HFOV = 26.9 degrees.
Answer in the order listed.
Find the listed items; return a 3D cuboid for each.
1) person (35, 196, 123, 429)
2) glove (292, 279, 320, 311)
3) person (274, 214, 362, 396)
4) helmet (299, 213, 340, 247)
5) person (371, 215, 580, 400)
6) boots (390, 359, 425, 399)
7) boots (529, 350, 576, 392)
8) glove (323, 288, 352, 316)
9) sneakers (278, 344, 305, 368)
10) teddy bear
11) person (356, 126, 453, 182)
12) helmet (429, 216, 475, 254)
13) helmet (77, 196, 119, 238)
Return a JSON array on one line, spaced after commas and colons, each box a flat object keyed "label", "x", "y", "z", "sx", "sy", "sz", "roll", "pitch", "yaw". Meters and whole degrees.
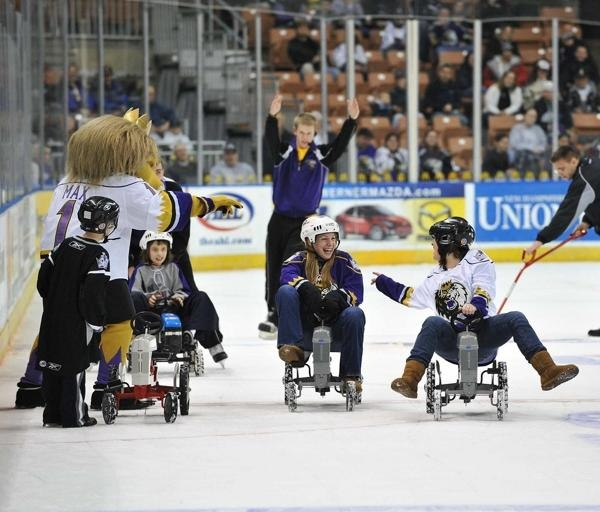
[{"label": "person", "x": -1.300, "y": 0.423, "z": 7.246, "sx": 0.428, "sy": 1.116, "sz": 0.298, "roll": -3, "pitch": 13, "yaw": -10}, {"label": "glove", "x": 0.068, "y": 0.242, "z": 7.822, "sx": 0.103, "sy": 0.153, "sz": 0.207, "roll": -6, "pitch": 14, "yaw": -23}, {"label": "person", "x": 0.129, "y": 0.286, "z": 7.977, "sx": 0.572, "sy": 1.229, "sz": 0.781, "roll": -9, "pitch": -18, "yaw": 29}, {"label": "helmet", "x": 0.140, "y": -0.180, "z": 8.011, "sx": 0.209, "sy": 0.221, "sz": 0.172, "roll": -3, "pitch": -2, "yaw": 43}, {"label": "person", "x": 0.986, "y": 0.286, "z": 7.582, "sx": 1.261, "sy": 1.203, "sz": 0.830, "roll": -10, "pitch": -19, "yaw": 25}, {"label": "boots", "x": 0.651, "y": 0.746, "z": 7.499, "sx": 0.145, "sy": 0.282, "sz": 0.232, "roll": 10, "pitch": 17, "yaw": 40}, {"label": "boots", "x": 1.512, "y": 0.673, "z": 7.462, "sx": 0.161, "sy": 0.233, "sz": 0.262, "roll": -11, "pitch": 17, "yaw": -39}, {"label": "glove", "x": 0.227, "y": 0.274, "z": 7.813, "sx": 0.118, "sy": 0.063, "sz": 0.168, "roll": 0, "pitch": 11, "yaw": 32}, {"label": "sneakers", "x": -0.047, "y": 0.611, "z": 7.797, "sx": 0.084, "sy": 0.207, "sz": 0.104, "roll": -19, "pitch": 47, "yaw": 2}, {"label": "teddy bear", "x": -1.032, "y": -0.040, "z": 7.864, "sx": 1.195, "sy": 1.792, "sz": 0.778, "roll": 3, "pitch": 11, "yaw": -11}, {"label": "person", "x": 1.511, "y": -1.543, "z": 18.386, "sx": 1.009, "sy": 0.519, "sz": 0.773, "roll": 1, "pitch": 8, "yaw": 1}, {"label": "helmet", "x": 0.939, "y": -0.141, "z": 7.746, "sx": 0.238, "sy": 0.212, "sz": 0.189, "roll": -3, "pitch": -3, "yaw": 17}, {"label": "helmet", "x": -1.158, "y": -0.235, "z": 7.186, "sx": 0.176, "sy": 0.246, "sz": 0.238, "roll": 12, "pitch": 10, "yaw": 32}]
